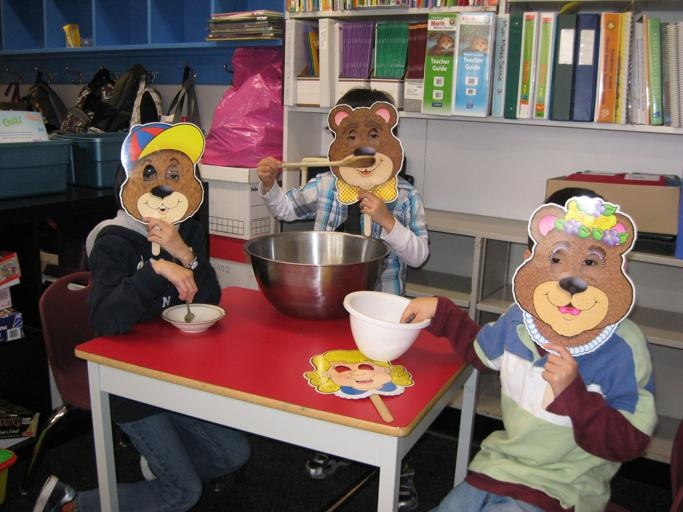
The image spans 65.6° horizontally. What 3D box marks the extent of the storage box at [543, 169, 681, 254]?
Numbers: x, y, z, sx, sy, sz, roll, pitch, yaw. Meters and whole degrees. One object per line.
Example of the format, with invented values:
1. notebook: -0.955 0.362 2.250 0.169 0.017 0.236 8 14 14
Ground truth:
1. storage box: 1.280 -0.217 2.354 0.467 0.290 0.460 4 6 24

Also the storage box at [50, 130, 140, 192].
1. storage box: -1.487 -0.536 3.274 0.656 0.398 0.571 7 9 38

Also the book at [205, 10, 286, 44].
1. book: -0.500 -1.319 3.052 0.612 0.167 0.204 11 25 33

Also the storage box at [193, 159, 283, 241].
1. storage box: -0.585 -0.338 3.218 0.318 0.393 0.422 7 11 18

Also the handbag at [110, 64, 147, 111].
1. handbag: -1.459 -1.222 3.744 0.107 0.115 0.345 22 27 -22

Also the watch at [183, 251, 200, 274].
1. watch: -0.486 0.021 1.732 0.048 0.063 0.035 -5 10 -27

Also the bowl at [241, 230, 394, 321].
1. bowl: -0.081 0.062 1.759 0.468 0.221 0.495 1 2 0

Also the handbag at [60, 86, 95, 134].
1. handbag: -1.819 -1.012 3.578 0.194 0.146 0.189 -39 4 -21

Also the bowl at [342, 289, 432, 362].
1. bowl: 0.114 0.205 1.471 0.245 0.149 0.243 9 12 -2

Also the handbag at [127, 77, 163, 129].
1. handbag: -1.374 -1.079 3.686 0.235 0.300 0.349 -10 22 -18
